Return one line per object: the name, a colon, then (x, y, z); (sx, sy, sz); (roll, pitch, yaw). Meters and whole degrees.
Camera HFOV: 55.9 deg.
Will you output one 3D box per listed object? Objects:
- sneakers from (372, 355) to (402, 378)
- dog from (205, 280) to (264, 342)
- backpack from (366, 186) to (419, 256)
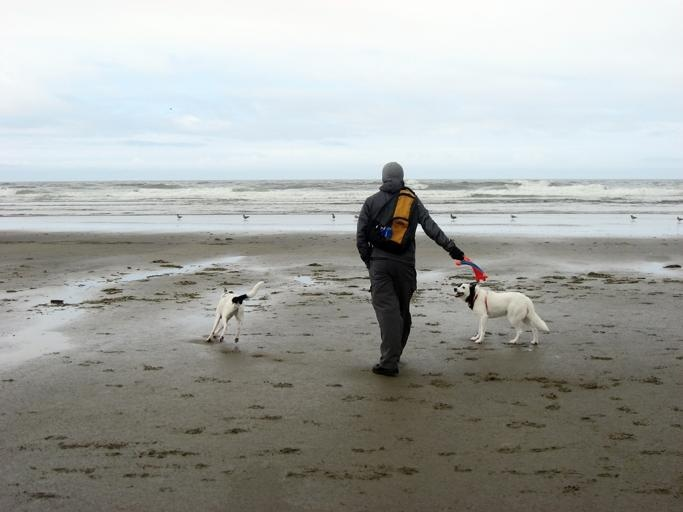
sneakers: (0.563, 1.375, 7.879); (0.196, 0.214, 0.438); (1, 3, -37)
dog: (-1.624, 0.818, 9.763); (0.803, 0.852, 0.900); (1, 12, 4)
backpack: (0.674, -0.418, 7.767); (0.646, 0.797, 0.369); (-4, 15, -16)
